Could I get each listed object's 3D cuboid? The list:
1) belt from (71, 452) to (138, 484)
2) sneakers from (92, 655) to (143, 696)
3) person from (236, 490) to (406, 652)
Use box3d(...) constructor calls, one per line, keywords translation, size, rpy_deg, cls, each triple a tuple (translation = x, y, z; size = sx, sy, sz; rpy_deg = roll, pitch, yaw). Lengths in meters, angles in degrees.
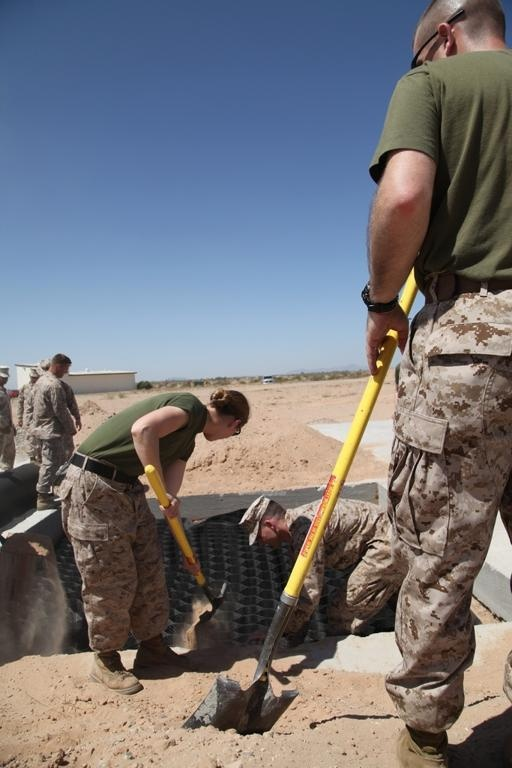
box3d(translation=(-0.656, 0.398, 2.871), size=(0.171, 0.045, 0.181), rpy_deg=(16, -7, 34), cls="belt")
box3d(translation=(-0.598, 1.237, 2.785), size=(0.135, 0.138, 0.264), rpy_deg=(1, -10, -38), cls="sneakers")
box3d(translation=(0.406, 0.991, 3.454), size=(0.837, 0.965, 0.428), rpy_deg=(-14, 13, 10), cls="person")
